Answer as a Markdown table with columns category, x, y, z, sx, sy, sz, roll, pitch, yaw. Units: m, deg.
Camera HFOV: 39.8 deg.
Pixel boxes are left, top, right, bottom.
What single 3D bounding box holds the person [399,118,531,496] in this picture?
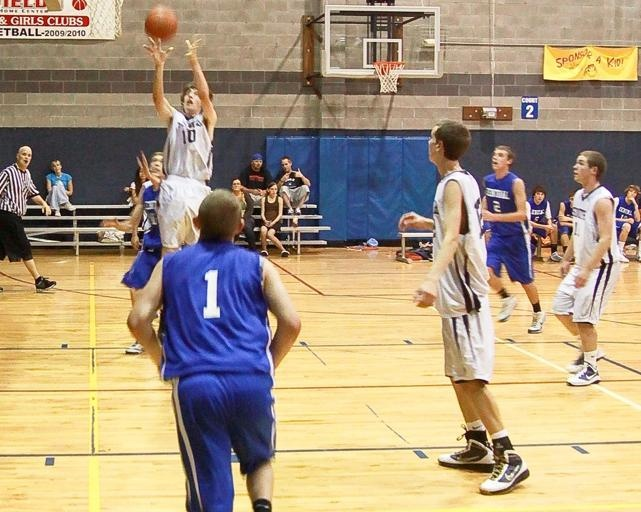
| category | x | y | z | sx | sy | sz | roll | pitch | yaw |
| --- | --- | --- | --- | --- | --- | --- | --- | --- | --- |
| person | 0.995 | 0.335 | 6.110 | 0.684 | 2.508 | 0.948 | -9 | 14 | -44 |

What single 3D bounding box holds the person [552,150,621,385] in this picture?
| category | x | y | z | sx | sy | sz | roll | pitch | yaw |
| --- | --- | --- | --- | --- | --- | --- | --- | --- | --- |
| person | 2.372 | 0.080 | 7.864 | 0.553 | 2.006 | 0.733 | 4 | 11 | 19 |

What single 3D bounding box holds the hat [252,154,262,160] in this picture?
| category | x | y | z | sx | sy | sz | roll | pitch | yaw |
| --- | --- | --- | --- | --- | --- | --- | --- | --- | --- |
| hat | -1.162 | -1.816 | 16.079 | 0.134 | 0.128 | 0.197 | -3 | 11 | -23 |

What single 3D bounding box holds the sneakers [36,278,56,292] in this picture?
| category | x | y | z | sx | sy | sz | roll | pitch | yaw |
| --- | --- | --- | --- | --- | --- | --- | --- | --- | --- |
| sneakers | -3.608 | 0.372 | 11.601 | 0.314 | 0.197 | 0.140 | -2 | 7 | -17 |

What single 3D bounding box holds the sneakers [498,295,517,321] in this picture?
| category | x | y | z | sx | sy | sz | roll | pitch | yaw |
| --- | --- | --- | --- | --- | --- | --- | --- | --- | --- |
| sneakers | 2.079 | 0.579 | 9.832 | 0.102 | 0.138 | 0.322 | -17 | 30 | 53 |

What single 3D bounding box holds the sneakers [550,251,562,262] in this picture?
| category | x | y | z | sx | sy | sz | roll | pitch | yaw |
| --- | --- | --- | --- | --- | --- | --- | --- | --- | --- |
| sneakers | 4.138 | 0.001 | 15.568 | 0.106 | 0.108 | 0.242 | -1 | 1 | -7 |

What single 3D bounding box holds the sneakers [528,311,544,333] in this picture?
| category | x | y | z | sx | sy | sz | roll | pitch | yaw |
| --- | --- | --- | --- | --- | --- | --- | --- | --- | --- |
| sneakers | 2.334 | 0.726 | 9.582 | 0.098 | 0.148 | 0.322 | -2 | 8 | 22 |
